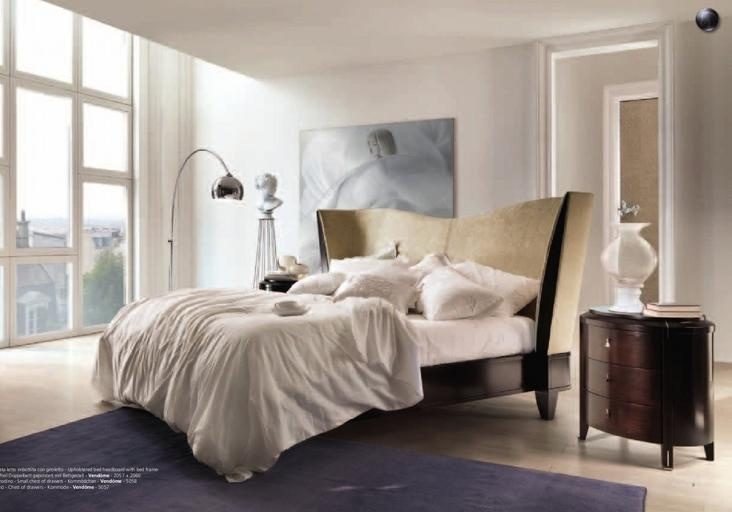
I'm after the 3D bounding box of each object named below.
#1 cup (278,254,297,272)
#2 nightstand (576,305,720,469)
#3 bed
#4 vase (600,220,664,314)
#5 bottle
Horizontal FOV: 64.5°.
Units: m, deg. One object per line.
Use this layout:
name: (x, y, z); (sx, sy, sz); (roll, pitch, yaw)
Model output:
cup: (-0.827, 0.075, 6.081); (0.205, 0.204, 0.156); (1, -5, -4)
nightstand: (1.867, 0.872, 3.967); (0.586, 0.917, 0.903); (-1, 1, -24)
bed: (0.010, 0.649, 4.257); (2.547, 1.387, 2.596); (4, -5, -33)
vase: (1.806, 0.082, 4.000); (0.364, 0.625, 0.369); (1, 0, -39)
bottle: (1.766, 0.077, 3.915); (0.331, 0.593, 0.302); (-1, 2, 0)
